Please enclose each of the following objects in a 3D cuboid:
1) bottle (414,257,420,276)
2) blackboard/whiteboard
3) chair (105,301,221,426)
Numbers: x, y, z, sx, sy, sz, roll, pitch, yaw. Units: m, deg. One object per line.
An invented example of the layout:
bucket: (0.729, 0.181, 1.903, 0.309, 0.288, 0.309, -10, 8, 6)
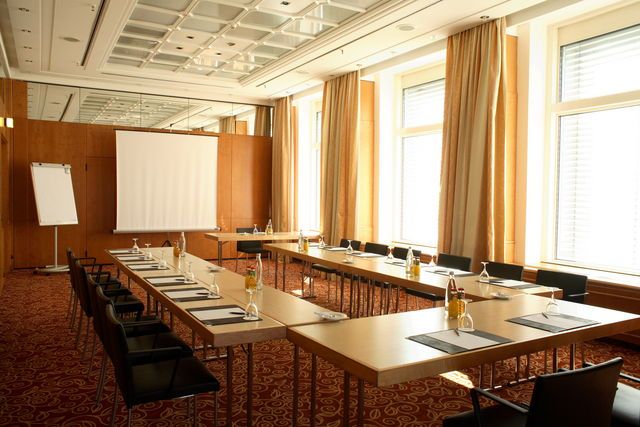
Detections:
bottle: (1.201, 0.672, 5.318, 0.068, 0.190, 0.165, 4, 6, 9)
blackboard/whiteboard: (-6.134, -0.424, 9.851, 0.823, 1.430, 0.566, -2, 8, -40)
chair: (-1.330, 1.219, 3.573, 0.808, 0.900, 0.560, 0, 6, -27)
